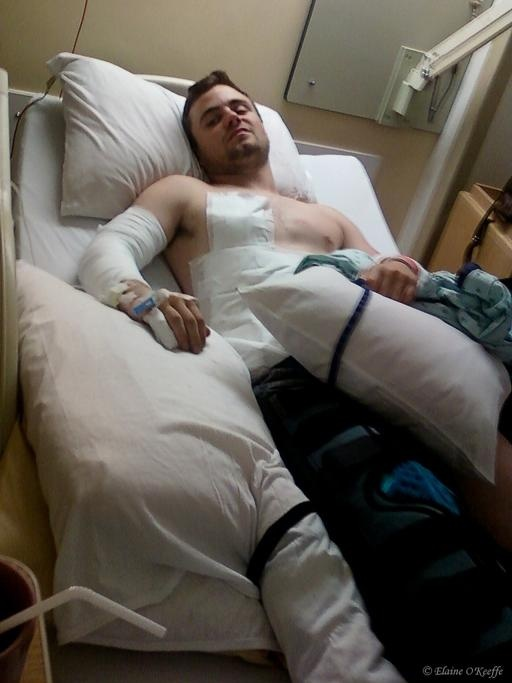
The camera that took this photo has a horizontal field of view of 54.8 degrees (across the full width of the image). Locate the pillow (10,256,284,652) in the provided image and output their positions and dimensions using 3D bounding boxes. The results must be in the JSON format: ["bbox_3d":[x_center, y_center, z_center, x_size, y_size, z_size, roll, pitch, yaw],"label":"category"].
[{"bbox_3d":[-0.170,0.129,0.694,0.410,0.183,0.477,10,33,-13],"label":"pillow"}]
